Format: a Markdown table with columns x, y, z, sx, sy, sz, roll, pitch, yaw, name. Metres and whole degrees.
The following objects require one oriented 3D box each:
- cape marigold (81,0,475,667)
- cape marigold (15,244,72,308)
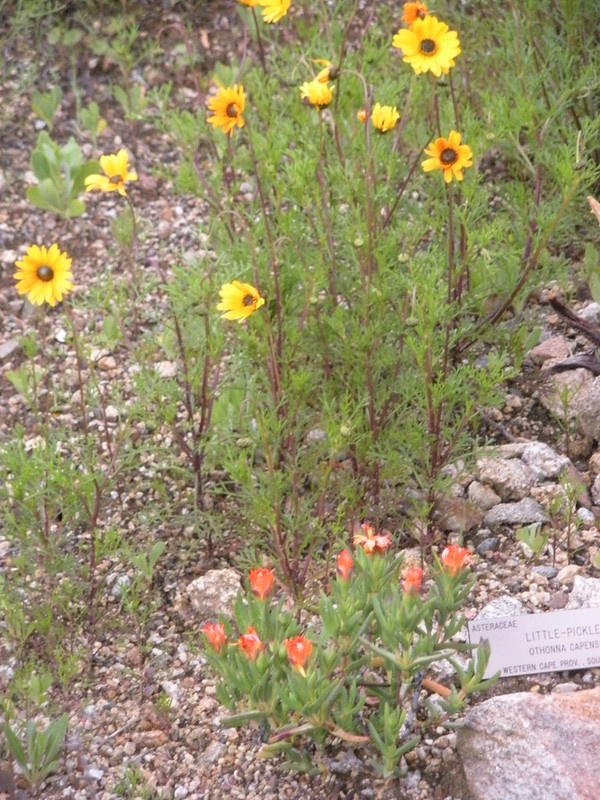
| x | y | z | sx | sy | sz | roll | pitch | yaw | name |
| --- | --- | --- | --- | --- | --- | --- | --- | --- | --- |
| 0.121 | -0.351 | 2.127 | 0.863 | 1.258 | 1.492 | -4 | 22 | -6 | cape marigold |
| -0.500 | -0.264 | 1.585 | 0.089 | 0.037 | 0.090 | -25 | -22 | 35 | cape marigold |
